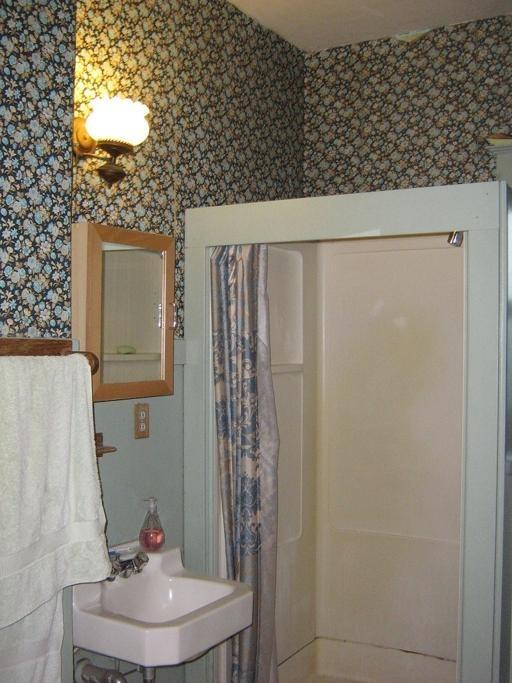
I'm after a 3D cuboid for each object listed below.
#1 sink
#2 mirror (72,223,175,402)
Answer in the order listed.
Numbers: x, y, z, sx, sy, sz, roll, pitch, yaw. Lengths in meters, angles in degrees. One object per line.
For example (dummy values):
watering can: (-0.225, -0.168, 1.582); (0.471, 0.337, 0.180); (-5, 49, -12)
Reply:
sink: (-0.274, 0.749, 1.640); (0.506, 0.186, 0.530); (0, -5, -11)
mirror: (-0.415, -0.077, 1.868); (0.073, 0.574, 0.513); (0, 6, 24)
